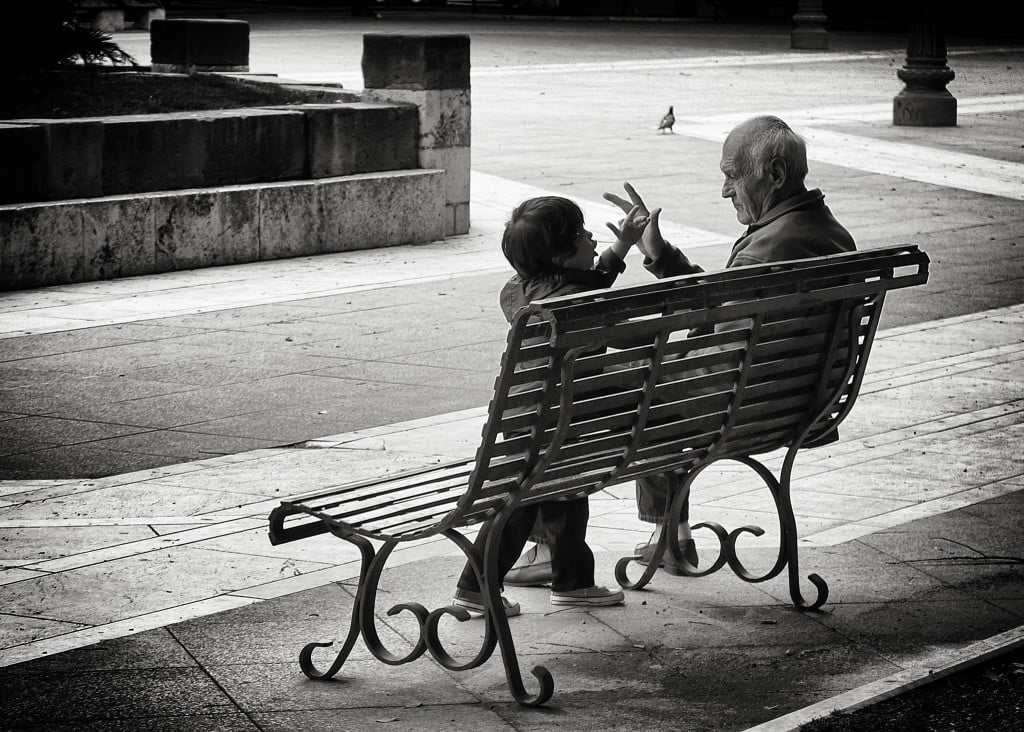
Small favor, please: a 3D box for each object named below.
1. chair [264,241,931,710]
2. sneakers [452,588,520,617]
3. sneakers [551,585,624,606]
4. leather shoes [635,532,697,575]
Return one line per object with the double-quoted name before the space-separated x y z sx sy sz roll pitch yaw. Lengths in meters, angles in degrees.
"chair" 0.368 0.335 5.832 2.320 1.578 0.948 -6 15 -36
"sneakers" -0.142 0.944 5.954 0.328 0.109 0.114 9 0 -11
"sneakers" 0.290 0.941 6.116 0.290 0.088 0.093 -2 1 -1
"leather shoes" 0.612 0.805 6.403 0.148 0.107 0.297 -7 10 -35
